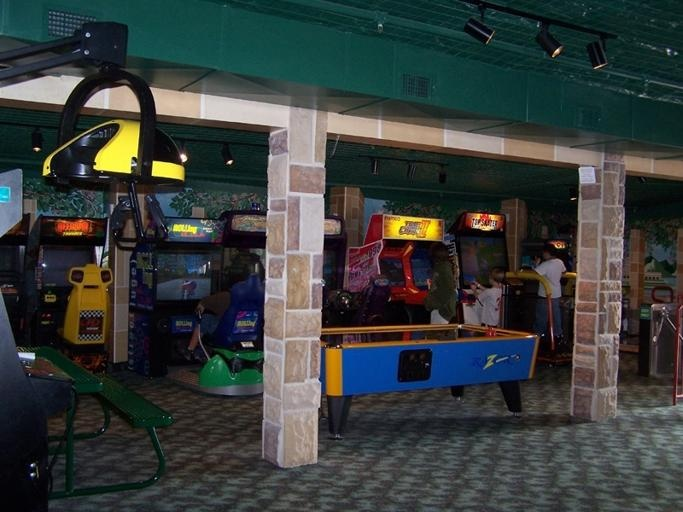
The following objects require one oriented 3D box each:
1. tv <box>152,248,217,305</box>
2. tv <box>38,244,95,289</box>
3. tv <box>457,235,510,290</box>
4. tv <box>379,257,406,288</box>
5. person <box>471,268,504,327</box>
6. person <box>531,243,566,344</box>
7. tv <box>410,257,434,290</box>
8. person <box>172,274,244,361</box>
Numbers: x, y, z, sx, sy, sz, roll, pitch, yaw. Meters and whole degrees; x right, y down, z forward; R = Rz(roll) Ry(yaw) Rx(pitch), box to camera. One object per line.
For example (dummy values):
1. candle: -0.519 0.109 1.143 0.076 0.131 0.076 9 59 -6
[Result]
1. tv: -2.137 0.279 7.722 0.755 0.621 0.241 1 -4 -38
2. tv: -3.712 0.161 7.719 0.612 0.491 0.230 1 -2 -32
3. tv: 2.351 0.139 9.723 0.842 0.806 0.289 4 -16 -26
4. tv: 0.849 0.253 9.562 0.417 0.340 0.254 2 1 3
5. person: 2.258 0.672 8.877 0.447 0.725 1.086 2 1 13
6. person: 3.397 0.567 9.420 0.447 1.250 1.597 2 1 21
7. tv: 1.389 0.286 9.862 0.534 0.391 0.337 1 1 -31
8. person: -1.678 0.845 7.633 0.767 1.129 2.113 1 1 -10
